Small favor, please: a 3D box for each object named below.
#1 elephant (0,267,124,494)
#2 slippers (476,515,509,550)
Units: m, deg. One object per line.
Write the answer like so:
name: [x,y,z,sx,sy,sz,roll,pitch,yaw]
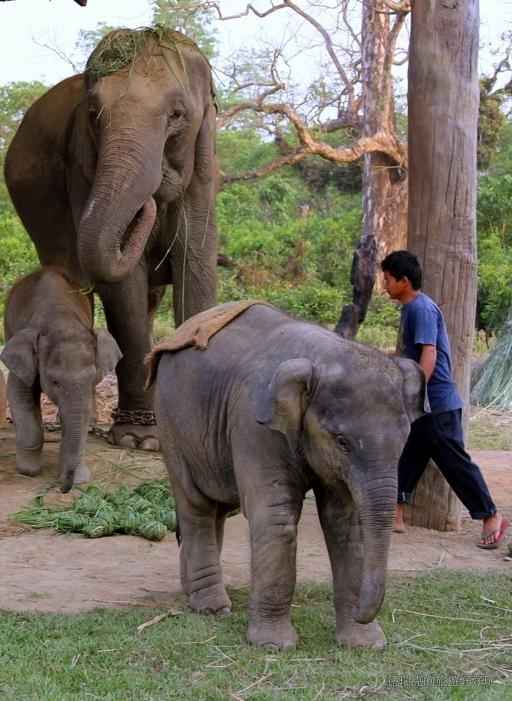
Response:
elephant: [-1.238,0.133,5.196,0.726,1.412,0.868,3,-3,-10]
slippers: [1.300,1.014,4.517,0.066,0.221,0.111,4,19,-41]
